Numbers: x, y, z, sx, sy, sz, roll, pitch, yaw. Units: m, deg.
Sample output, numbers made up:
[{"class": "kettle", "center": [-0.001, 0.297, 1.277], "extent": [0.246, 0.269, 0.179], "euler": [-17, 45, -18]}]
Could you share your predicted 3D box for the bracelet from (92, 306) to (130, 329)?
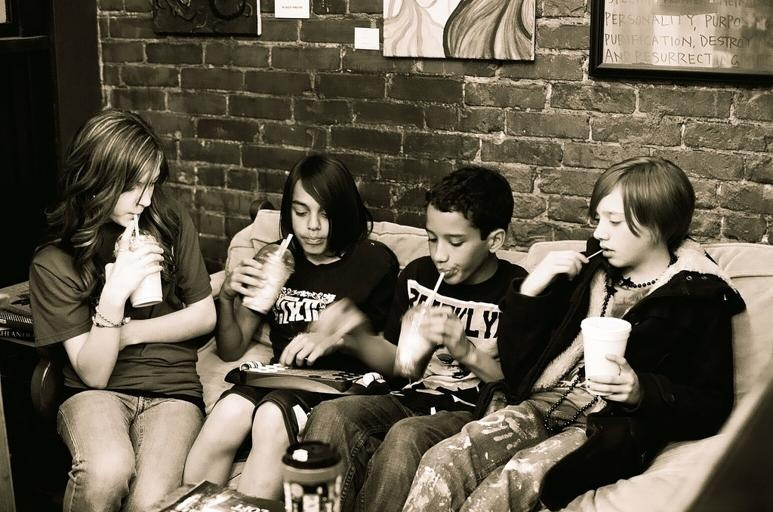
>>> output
[{"class": "bracelet", "center": [-0.977, 0.220, 2.352], "extent": [0.120, 0.090, 0.094], "euler": [1, 10, -21]}]

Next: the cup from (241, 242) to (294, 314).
[{"class": "cup", "center": [-0.463, 0.099, 2.592], "extent": [0.155, 0.275, 0.161], "euler": [28, -1, 1]}]

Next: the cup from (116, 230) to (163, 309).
[{"class": "cup", "center": [-0.881, 0.064, 2.383], "extent": [0.125, 0.293, 0.181], "euler": [0, 10, -23]}]
